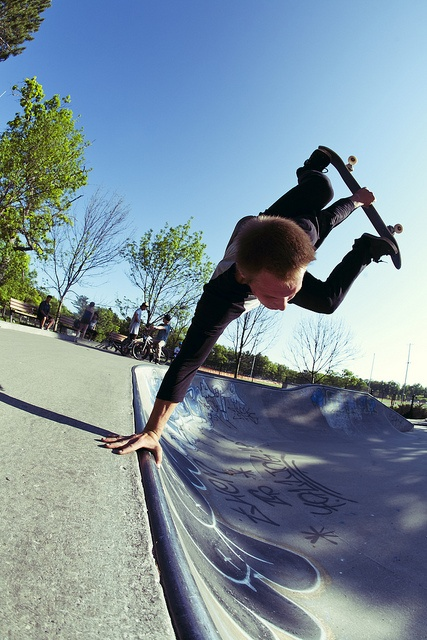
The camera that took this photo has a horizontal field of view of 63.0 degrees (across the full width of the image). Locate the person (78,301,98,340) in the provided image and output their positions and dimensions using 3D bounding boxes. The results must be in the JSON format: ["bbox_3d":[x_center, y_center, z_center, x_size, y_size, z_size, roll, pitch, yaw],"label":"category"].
[{"bbox_3d":[-5.557,0.131,15.295,0.567,1.523,1.529,29,-14,-17],"label":"person"}]

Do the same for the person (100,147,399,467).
[{"bbox_3d":[0.245,-0.124,1.741,1.475,1.396,0.652,-5,-17,3],"label":"person"}]

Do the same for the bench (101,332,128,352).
[{"bbox_3d":[-3.591,0.756,12.829,0.822,0.324,0.895,12,-37,-14],"label":"bench"}]
